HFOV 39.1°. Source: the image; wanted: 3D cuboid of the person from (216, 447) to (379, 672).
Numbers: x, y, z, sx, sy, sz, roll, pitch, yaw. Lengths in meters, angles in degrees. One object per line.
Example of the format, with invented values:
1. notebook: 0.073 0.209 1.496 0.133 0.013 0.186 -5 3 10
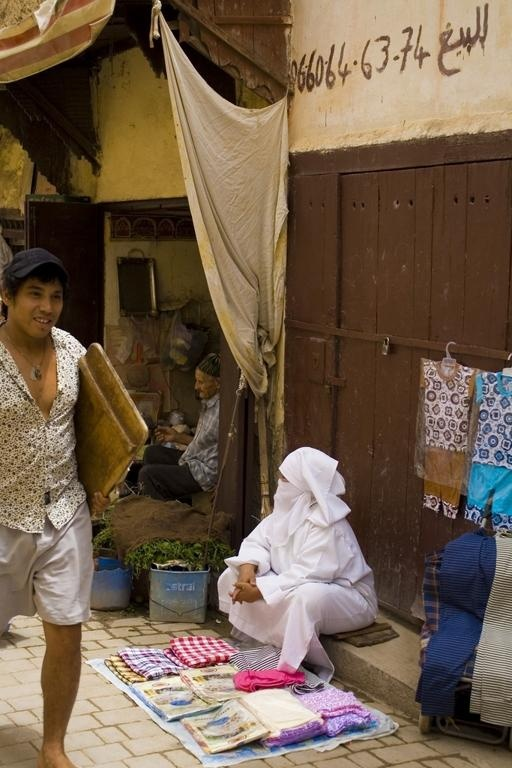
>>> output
1. person: 0.262 0.900 4.030 0.912 1.322 1.046 6 -10 -20

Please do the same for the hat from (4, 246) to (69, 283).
1. hat: -0.688 -0.375 2.235 0.169 0.130 0.190 0 -2 3

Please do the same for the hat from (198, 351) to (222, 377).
1. hat: -0.364 -0.156 5.780 0.141 0.177 0.191 14 4 -4

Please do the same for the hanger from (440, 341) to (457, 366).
1. hanger: 0.871 -0.140 3.280 0.011 0.153 0.114 3 -1 -31

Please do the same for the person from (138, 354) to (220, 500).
1. person: -0.624 0.355 5.756 0.617 1.180 1.506 1 -2 -10
